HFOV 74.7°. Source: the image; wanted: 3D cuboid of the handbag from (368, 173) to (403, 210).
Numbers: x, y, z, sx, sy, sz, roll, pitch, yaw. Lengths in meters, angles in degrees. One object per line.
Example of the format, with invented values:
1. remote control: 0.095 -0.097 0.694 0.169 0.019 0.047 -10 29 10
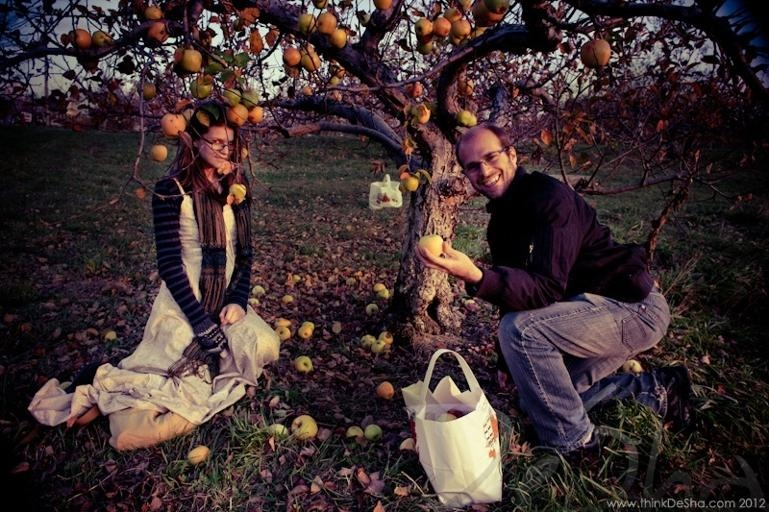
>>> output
1. handbag: 0.025 -1.055 8.176 0.536 0.564 0.584 6 20 20

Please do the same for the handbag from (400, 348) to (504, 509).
1. handbag: 0.498 1.328 3.756 0.626 1.101 0.851 -20 2 21
